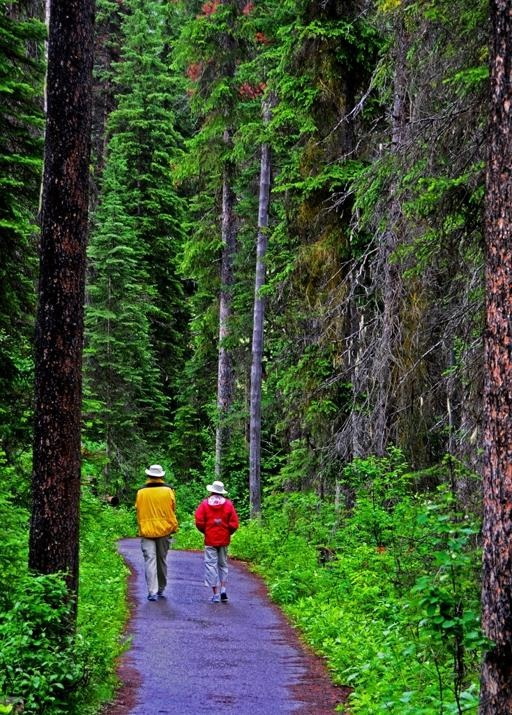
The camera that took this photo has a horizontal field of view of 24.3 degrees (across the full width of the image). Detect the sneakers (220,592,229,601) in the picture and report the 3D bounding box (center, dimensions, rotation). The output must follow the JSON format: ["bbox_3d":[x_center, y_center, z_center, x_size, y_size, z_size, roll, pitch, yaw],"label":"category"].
[{"bbox_3d":[-0.401,2.989,14.959,0.070,0.113,0.246,1,-11,-4],"label":"sneakers"}]

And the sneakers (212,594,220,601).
[{"bbox_3d":[-0.500,2.993,14.861,0.095,0.088,0.261,-2,0,-4],"label":"sneakers"}]

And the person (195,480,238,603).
[{"bbox_3d":[-0.497,2.328,15.168,0.533,1.443,0.856,-2,0,-2],"label":"person"}]

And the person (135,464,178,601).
[{"bbox_3d":[-1.259,2.251,14.810,0.397,1.538,0.619,-2,0,27],"label":"person"}]
